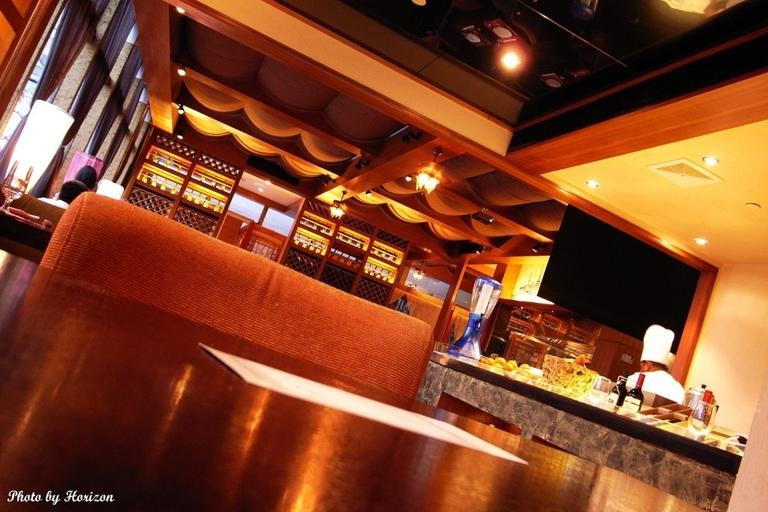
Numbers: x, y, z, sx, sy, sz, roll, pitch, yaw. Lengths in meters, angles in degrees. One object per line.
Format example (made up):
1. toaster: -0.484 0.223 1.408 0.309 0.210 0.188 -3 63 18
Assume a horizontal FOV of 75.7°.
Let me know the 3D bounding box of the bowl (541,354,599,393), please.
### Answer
1. bowl: 0.960 0.594 2.511 0.170 0.085 0.214 22 -15 -7

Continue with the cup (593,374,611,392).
1. cup: 0.947 0.543 2.138 0.077 0.075 0.078 1 -5 0

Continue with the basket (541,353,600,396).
1. basket: 0.940 0.606 2.512 0.185 0.095 0.234 23 -18 -3
